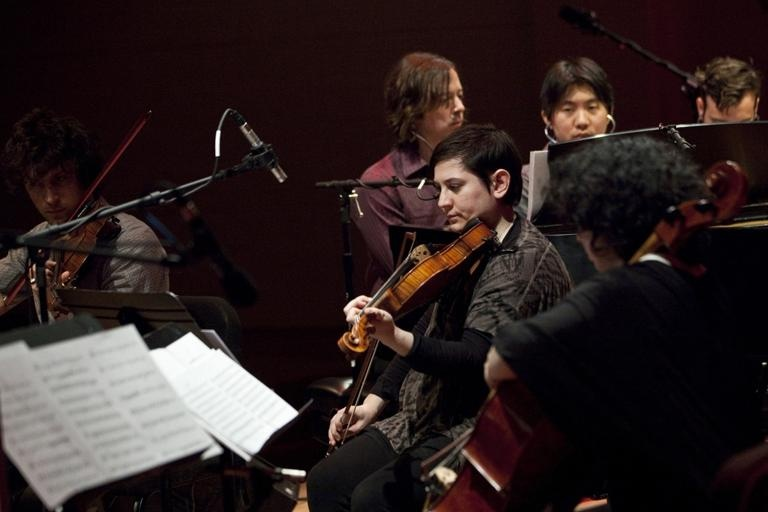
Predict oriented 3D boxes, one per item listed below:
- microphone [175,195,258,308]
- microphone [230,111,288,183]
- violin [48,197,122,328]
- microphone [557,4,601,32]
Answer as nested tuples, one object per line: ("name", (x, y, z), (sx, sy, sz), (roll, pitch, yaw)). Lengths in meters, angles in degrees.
("microphone", (-0.555, 0.001, 2.228), (0.240, 0.376, 0.236), (-4, 10, -18))
("microphone", (-0.566, -0.496, 2.938), (0.202, 0.292, 0.497), (-3, 9, -12))
("violin", (-1.323, 0.014, 2.907), (0.319, 0.492, 0.624), (-6, 10, -26))
("microphone", (0.904, -1.087, 3.004), (0.165, 0.145, 0.182), (3, 10, 27))
